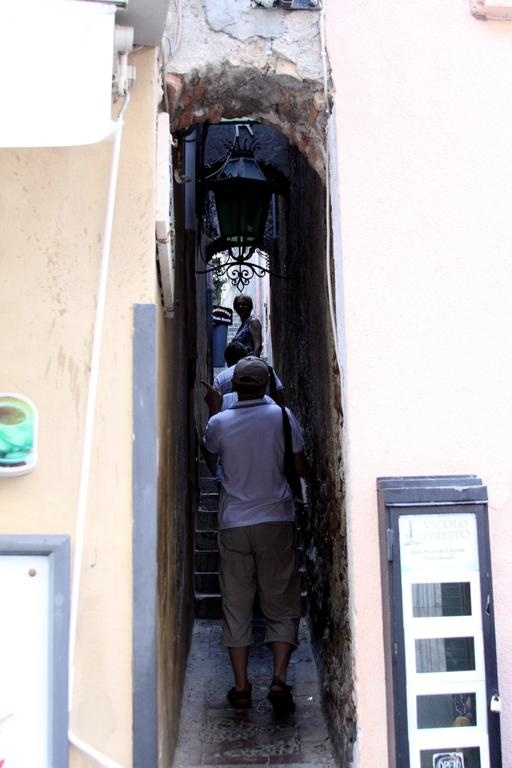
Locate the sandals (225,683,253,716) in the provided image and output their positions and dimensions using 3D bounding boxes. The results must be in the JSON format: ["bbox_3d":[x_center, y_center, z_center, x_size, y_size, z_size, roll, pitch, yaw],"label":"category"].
[{"bbox_3d":[-0.071,1.310,3.295,0.103,0.135,0.200,0,-5,-2],"label":"sandals"}]

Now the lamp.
[{"bbox_3d":[-0.080,-1.019,4.033,0.425,1.329,0.320,-2,-33,4],"label":"lamp"}]

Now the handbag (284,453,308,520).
[{"bbox_3d":[0.171,0.457,3.531,0.127,0.271,0.246,-1,-25,-1],"label":"handbag"}]

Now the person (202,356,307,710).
[{"bbox_3d":[-0.018,0.614,3.348,0.449,1.519,0.465,0,-4,4],"label":"person"}]
